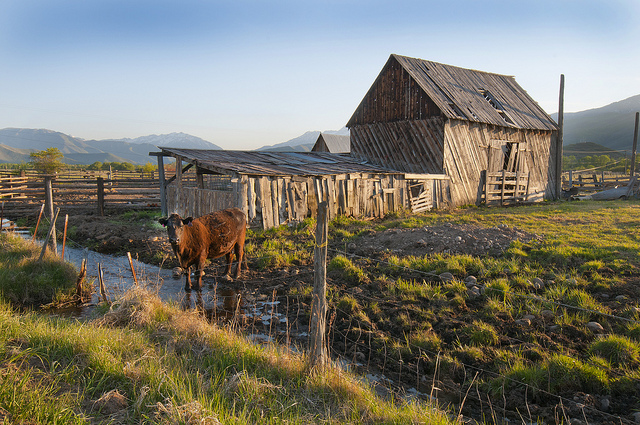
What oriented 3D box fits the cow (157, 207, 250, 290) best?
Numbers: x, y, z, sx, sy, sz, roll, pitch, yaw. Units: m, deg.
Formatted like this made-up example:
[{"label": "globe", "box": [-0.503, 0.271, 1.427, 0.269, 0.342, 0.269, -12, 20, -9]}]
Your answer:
[{"label": "cow", "box": [-3.264, 1.045, 14.540, 0.901, 2.213, 3.602, 6, 7, 26]}]
